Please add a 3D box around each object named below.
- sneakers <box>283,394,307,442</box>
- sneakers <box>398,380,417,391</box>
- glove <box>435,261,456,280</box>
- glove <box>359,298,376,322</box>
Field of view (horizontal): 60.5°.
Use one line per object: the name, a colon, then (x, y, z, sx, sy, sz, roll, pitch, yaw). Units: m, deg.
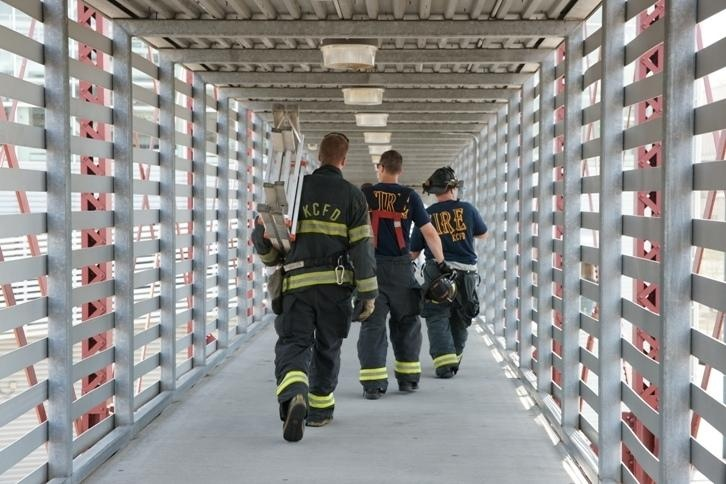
sneakers: (-0.520, 1.395, 4.811, 0.151, 0.412, 0.224, 7, 26, -7)
sneakers: (0.441, 1.444, 6.206, 0.075, 0.105, 0.222, 0, 0, 28)
glove: (0.850, 0.317, 6.451, 0.180, 0.204, 0.150, -39, -6, -7)
glove: (0.034, 0.564, 5.190, 0.078, 0.194, 0.140, 26, -8, 9)
